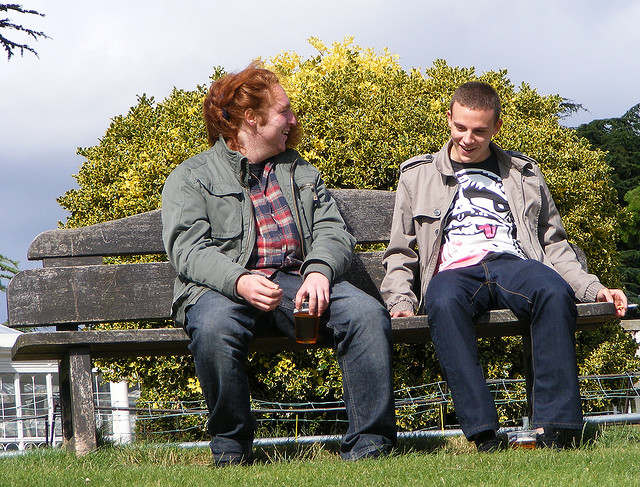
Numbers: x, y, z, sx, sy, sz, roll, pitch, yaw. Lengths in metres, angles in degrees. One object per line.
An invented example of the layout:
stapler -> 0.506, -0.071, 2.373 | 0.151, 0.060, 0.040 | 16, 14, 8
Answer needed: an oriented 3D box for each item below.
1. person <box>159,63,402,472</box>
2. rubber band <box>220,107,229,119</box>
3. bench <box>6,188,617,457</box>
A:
person -> -0.302, 0.055, 6.199 | 1.366, 2.663, 1.170 | -4, -11, 1
rubber band -> -0.622, -0.856, 6.372 | 0.025, 0.094, 0.024 | -7, -34, -51
bench -> -0.523, 0.449, 6.533 | 3.037, 1.775, 0.983 | -4, -11, 2
